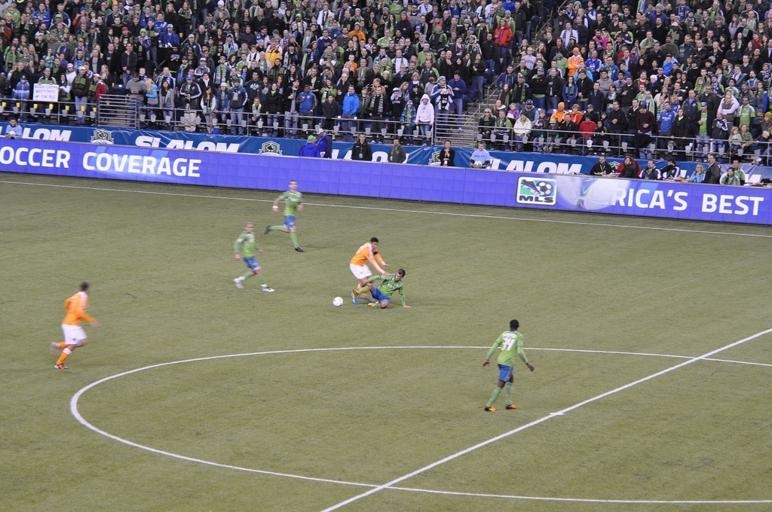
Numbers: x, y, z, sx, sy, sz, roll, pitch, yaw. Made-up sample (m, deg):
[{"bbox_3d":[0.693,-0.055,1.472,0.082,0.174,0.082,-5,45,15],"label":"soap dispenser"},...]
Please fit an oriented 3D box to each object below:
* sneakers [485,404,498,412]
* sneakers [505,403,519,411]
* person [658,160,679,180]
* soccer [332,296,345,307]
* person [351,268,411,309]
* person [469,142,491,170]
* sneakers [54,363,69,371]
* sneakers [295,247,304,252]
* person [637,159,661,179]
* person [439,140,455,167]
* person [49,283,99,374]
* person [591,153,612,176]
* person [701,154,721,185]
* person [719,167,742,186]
[{"bbox_3d":[3.075,4.510,42.624,0.322,0.164,0.158,0,9,-6],"label":"sneakers"},{"bbox_3d":[3.673,4.473,42.761,0.315,0.118,0.151,-1,5,-45],"label":"sneakers"},{"bbox_3d":[12.044,-3.570,61.887,0.600,0.838,0.662,-11,26,-26],"label":"person"},{"bbox_3d":[-1.615,1.601,49.299,0.393,0.308,0.910,4,3,-3],"label":"soccer"},{"bbox_3d":[0.014,1.183,49.241,2.219,1.245,1.009,9,27,-22],"label":"person"},{"bbox_3d":[4.203,-4.414,64.239,0.964,1.191,0.728,5,4,8],"label":"person"},{"bbox_3d":[-9.839,3.412,44.179,0.360,0.127,0.136,3,4,2],"label":"sneakers"},{"bbox_3d":[-3.196,-0.197,55.069,0.427,0.233,0.137,2,10,20],"label":"sneakers"},{"bbox_3d":[11.252,-3.615,62.085,0.993,0.713,0.520,7,9,35],"label":"person"},{"bbox_3d":[2.703,-4.449,64.155,0.648,1.102,1.193,5,4,-2],"label":"person"},{"bbox_3d":[-9.455,2.172,44.189,1.074,2.663,1.573,4,4,-15],"label":"person"},{"bbox_3d":[9.260,-3.854,62.519,0.857,0.964,0.796,7,5,38],"label":"person"},{"bbox_3d":[13.741,-3.599,61.081,0.707,1.321,0.889,6,4,11],"label":"person"},{"bbox_3d":[14.422,-3.239,60.905,0.951,0.745,0.534,1,-1,45],"label":"person"}]
